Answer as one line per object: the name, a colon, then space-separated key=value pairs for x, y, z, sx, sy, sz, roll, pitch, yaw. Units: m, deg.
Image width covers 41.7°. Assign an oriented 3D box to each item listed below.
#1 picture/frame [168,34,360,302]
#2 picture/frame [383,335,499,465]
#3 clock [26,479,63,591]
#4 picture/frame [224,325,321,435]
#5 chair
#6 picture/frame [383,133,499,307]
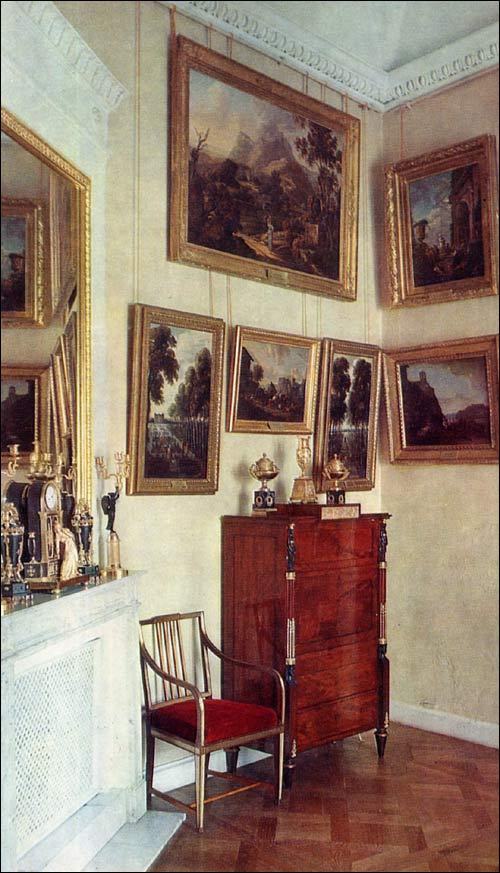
picture/frame: x=0.043 y=-1.661 z=3.993 sx=0.056 sy=1.255 sz=1.363 roll=2 pitch=0 yaw=39
picture/frame: x=1.299 y=-0.231 z=4.348 sx=0.055 sy=0.842 sz=0.685 roll=1 pitch=-4 yaw=-35
clock: x=-0.863 y=0.396 z=2.733 sx=0.136 sy=0.430 sz=0.245 roll=1 pitch=-9 yaw=-18
picture/frame: x=0.120 y=-0.355 z=4.229 sx=0.039 sy=0.646 sz=0.546 roll=3 pitch=-3 yaw=43
chair: x=-0.225 y=1.425 z=3.361 sx=0.592 sy=1.023 sz=0.707 roll=-4 pitch=-8 yaw=-4
picture/frame: x=1.277 y=-1.399 z=4.370 sx=0.291 sy=1.115 sz=0.989 roll=3 pitch=-10 yaw=-33
